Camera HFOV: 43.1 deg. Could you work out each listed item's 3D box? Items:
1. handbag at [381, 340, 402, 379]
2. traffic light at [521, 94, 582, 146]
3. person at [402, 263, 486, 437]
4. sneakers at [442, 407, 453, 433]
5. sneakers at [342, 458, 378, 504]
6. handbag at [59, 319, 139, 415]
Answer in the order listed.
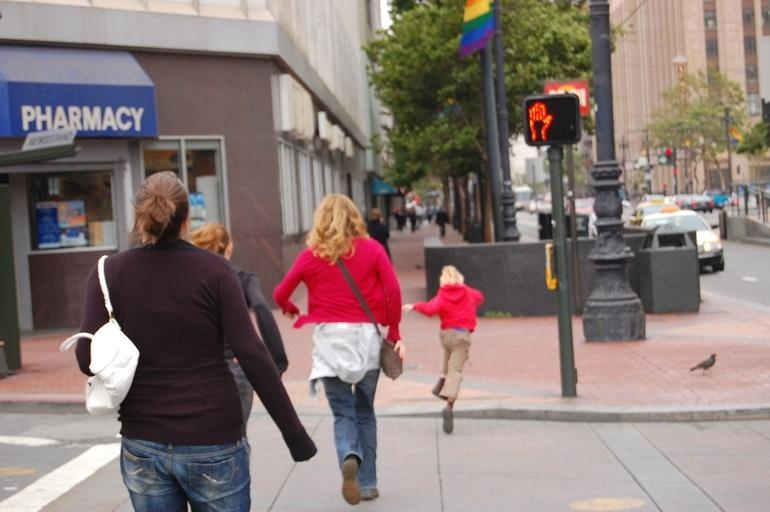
[{"bbox_3d":[0.065,1.052,10.000,0.238,0.428,0.375,-3,-5,-1],"label":"handbag"},{"bbox_3d":[2.260,-1.843,13.158,0.743,0.690,0.356,-1,11,6],"label":"traffic light"},{"bbox_3d":[0.804,1.139,12.130,0.621,1.923,1.061,3,12,22],"label":"person"},{"bbox_3d":[0.763,1.980,11.842,0.116,0.332,0.197,-1,11,4],"label":"sneakers"},{"bbox_3d":[-0.244,2.245,9.691,0.215,0.669,0.282,-4,7,4],"label":"sneakers"},{"bbox_3d":[-2.315,0.938,7.911,0.499,0.777,0.637,-2,7,-13],"label":"handbag"}]
